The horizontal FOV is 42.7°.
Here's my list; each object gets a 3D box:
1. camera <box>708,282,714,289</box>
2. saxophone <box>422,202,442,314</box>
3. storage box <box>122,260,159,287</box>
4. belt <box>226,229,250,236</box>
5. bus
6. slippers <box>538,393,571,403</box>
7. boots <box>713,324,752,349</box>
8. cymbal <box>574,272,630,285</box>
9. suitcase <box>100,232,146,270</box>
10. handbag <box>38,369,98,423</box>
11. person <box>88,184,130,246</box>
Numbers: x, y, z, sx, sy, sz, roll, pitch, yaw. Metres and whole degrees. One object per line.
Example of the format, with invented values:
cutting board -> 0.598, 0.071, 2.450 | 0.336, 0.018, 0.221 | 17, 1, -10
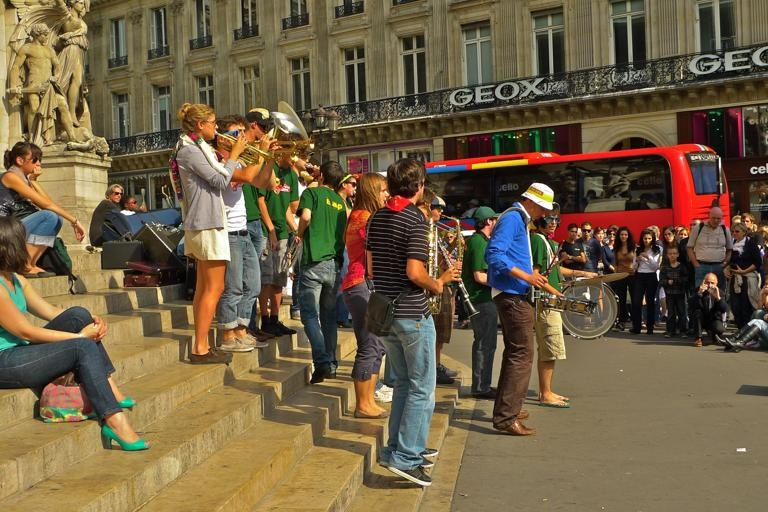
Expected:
camera -> 6.266, 0.585, 18.840 | 0.107, 0.101, 0.026 | 0, -21, 19
saxophone -> 0.614, 0.115, 12.654 | 0.216, 1.247, 0.184 | 1, 2, -34
storage box -> -3.982, 0.315, 16.119 | 0.469, 0.309, 0.466 | -2, 0, 1
belt -> -2.050, -0.323, 13.967 | 0.102, 0.084, 0.378 | 1, 4, 30
bus -> 5.071, -1.686, 29.254 | 2.390, 3.045, 10.368 | -15, 12, -40
slippers -> 2.540, 2.179, 14.828 | 0.360, 0.128, 0.201 | -3, 5, 11
boots -> 6.365, 1.513, 17.958 | 0.482, 0.453, 0.395 | 24, 1, -12
cymbal -> 3.216, 0.362, 14.518 | 0.646, 0.197, 1.052 | 1, 4, 25
suitcase -> -4.456, 0.032, 16.867 | 0.709, 0.462, 0.376 | -2, -14, 4
handbag -> -3.800, 1.767, 11.978 | 0.745, 0.470, 0.748 | 2, 0, -5
person -> -5.021, -0.711, 17.877 | 0.557, 1.269, 1.545 | 1, -2, -7
